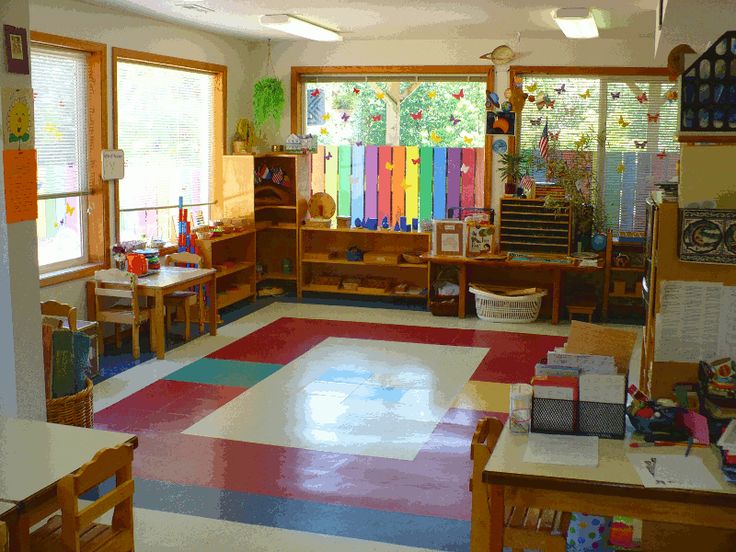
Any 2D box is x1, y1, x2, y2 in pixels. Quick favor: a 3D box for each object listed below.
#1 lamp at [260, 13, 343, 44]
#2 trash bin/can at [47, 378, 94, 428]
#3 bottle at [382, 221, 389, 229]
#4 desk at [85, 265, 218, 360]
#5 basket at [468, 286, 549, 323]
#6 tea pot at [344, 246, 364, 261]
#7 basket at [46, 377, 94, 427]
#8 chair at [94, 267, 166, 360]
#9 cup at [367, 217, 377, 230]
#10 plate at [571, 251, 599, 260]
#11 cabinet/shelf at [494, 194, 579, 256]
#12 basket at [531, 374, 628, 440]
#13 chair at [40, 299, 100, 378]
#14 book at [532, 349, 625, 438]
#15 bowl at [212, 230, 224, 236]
[{"bbox_3d":[-0.878,-3.276,7.546,0.482,0.114,0.841,5,6,35],"label":"lamp"},{"bbox_3d":[-2.272,0.997,4.453,0.402,0.316,0.436,-1,-1,-7],"label":"trash bin/can"},{"bbox_3d":[0.268,-0.832,9.131,0.115,0.133,0.192,0,12,1],"label":"bottle"},{"bbox_3d":[-2.619,0.371,7.055,1.046,0.940,1.351,4,11,18],"label":"desk"},{"bbox_3d":[1.962,0.385,8.090,0.813,0.346,0.563,0,2,11],"label":"basket"},{"bbox_3d":[-0.246,-0.359,9.269,0.285,0.181,0.173,-2,5,-29],"label":"tea pot"},{"bbox_3d":[-2.255,0.968,4.511,0.401,0.315,0.435,-1,-1,-7],"label":"basket"},{"bbox_3d":[-2.870,0.414,6.843,0.739,0.919,0.732,0,4,-21],"label":"chair"},{"bbox_3d":[0.052,-0.838,9.104,0.162,0.159,0.163,0,12,0],"label":"cup"},{"bbox_3d":[3.069,-0.298,8.084,0.438,0.078,0.316,-4,13,-19],"label":"plate"},{"bbox_3d":[2.480,-0.760,8.338,0.932,0.724,0.351,2,7,16],"label":"cabinet/shelf"},{"bbox_3d":[1.066,0.616,2.876,0.426,0.278,0.409,-2,1,28],"label":"basket"},{"bbox_3d":[-3.010,0.582,5.761,0.422,0.702,0.480,3,10,15],"label":"chair"},{"bbox_3d":[1.034,0.562,2.912,0.442,0.380,0.111,-2,0,7],"label":"book"},{"bbox_3d":[-2.158,-0.630,8.300,0.110,0.074,0.246,6,14,26],"label":"bowl"}]
